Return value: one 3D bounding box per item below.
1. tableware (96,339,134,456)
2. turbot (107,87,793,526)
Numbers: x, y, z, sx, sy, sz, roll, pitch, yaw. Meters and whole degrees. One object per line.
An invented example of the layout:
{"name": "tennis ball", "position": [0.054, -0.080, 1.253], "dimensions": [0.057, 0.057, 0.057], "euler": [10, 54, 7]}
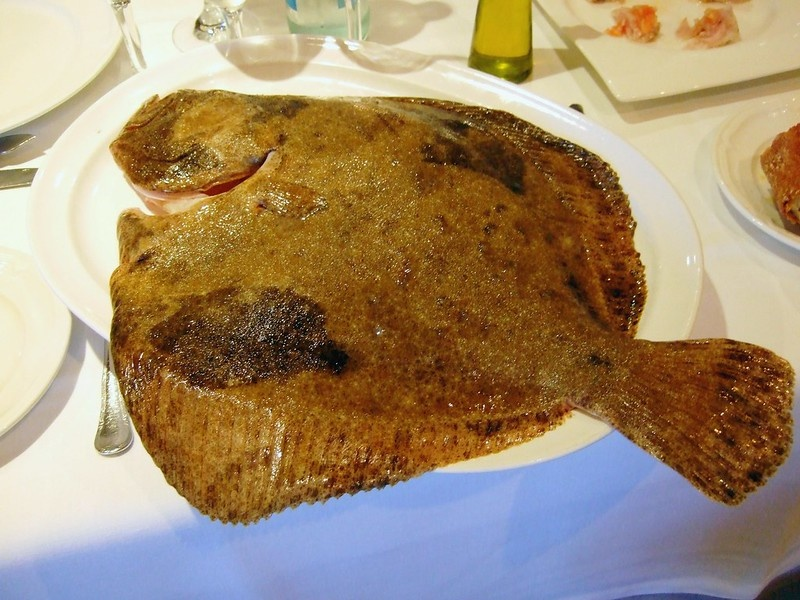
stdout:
{"name": "tableware", "position": [-0.490, 0.133, 1.277], "dimensions": [0.060, 0.370, 0.019], "euler": [-12, 49, -30]}
{"name": "turbot", "position": [0.049, -0.031, 1.339], "dimensions": [1.077, 0.228, 0.966], "euler": [-12, 78, -2]}
